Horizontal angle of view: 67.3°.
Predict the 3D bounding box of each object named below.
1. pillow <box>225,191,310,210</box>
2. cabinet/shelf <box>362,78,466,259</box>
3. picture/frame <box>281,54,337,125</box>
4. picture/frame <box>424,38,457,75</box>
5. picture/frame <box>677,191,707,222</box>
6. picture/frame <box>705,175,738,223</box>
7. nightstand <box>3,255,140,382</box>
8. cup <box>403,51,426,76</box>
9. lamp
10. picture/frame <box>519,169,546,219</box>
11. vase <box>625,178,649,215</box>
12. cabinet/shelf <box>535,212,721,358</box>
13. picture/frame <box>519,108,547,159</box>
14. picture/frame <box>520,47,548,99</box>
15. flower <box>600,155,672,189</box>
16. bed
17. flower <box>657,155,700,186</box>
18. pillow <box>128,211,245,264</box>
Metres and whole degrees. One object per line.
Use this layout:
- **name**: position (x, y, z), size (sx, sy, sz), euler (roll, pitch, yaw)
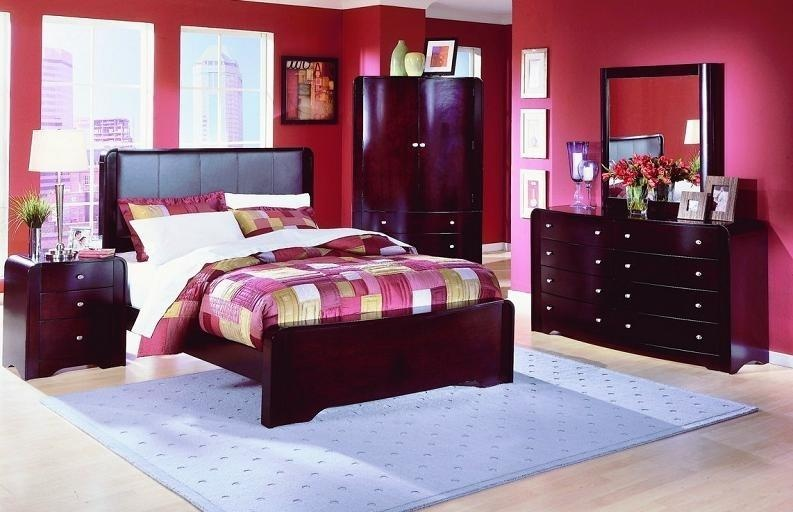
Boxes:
- **pillow**: position (-1.118, -0.472, 5.114), size (0.530, 0.181, 0.075), euler (-5, -8, -30)
- **cabinet/shelf**: position (0.255, -0.958, 6.373), size (1.292, 2.011, 0.640), euler (0, 34, 5)
- **picture/frame**: position (-1.009, -1.889, 6.674), size (0.880, 0.884, 0.062), euler (-3, 4, -30)
- **picture/frame**: position (0.460, -2.077, 6.191), size (0.429, 0.424, 0.035), euler (2, -5, 12)
- **picture/frame**: position (2.175, -0.360, 4.361), size (0.257, 0.272, 0.024), euler (2, -6, 38)
- **picture/frame**: position (2.350, -0.421, 4.328), size (0.241, 0.298, 0.020), euler (3, 2, -10)
- **nightstand**: position (-2.178, 0.298, 4.417), size (1.047, 1.030, 0.780), euler (-2, 3, -41)
- **cup**: position (0.183, -1.946, 6.052), size (0.247, 0.252, 0.235), euler (0, 8, 0)
- **lamp**: position (-2.528, -0.514, 4.490), size (0.344, 0.884, 1.314), euler (-5, 12, -29)
- **picture/frame**: position (1.320, -0.600, 5.758), size (0.295, 0.473, 0.120), euler (6, 11, 25)
- **vase**: position (1.855, -0.492, 4.746), size (0.187, 0.249, 0.182), euler (1, 3, -17)
- **cabinet/shelf**: position (1.905, 0.194, 4.696), size (0.624, 1.040, 1.695), euler (-9, 10, -34)
- **picture/frame**: position (1.314, -1.172, 5.702), size (0.368, 0.463, 0.032), euler (-5, 10, -31)
- **picture/frame**: position (1.316, -1.741, 5.658), size (0.032, 0.419, 0.336), euler (-17, 22, -30)
- **flower**: position (1.916, -0.669, 4.650), size (0.334, 0.170, 0.288), euler (-11, 13, -42)
- **bed**: position (-0.834, 0.096, 4.506), size (1.966, 1.443, 2.740), euler (-4, 8, -34)
- **flower**: position (2.158, -0.661, 4.564), size (0.314, 0.211, 0.157), euler (7, 12, 30)
- **pillow**: position (-1.536, -0.168, 4.416), size (0.906, 0.357, 0.325), euler (-14, 19, -36)
